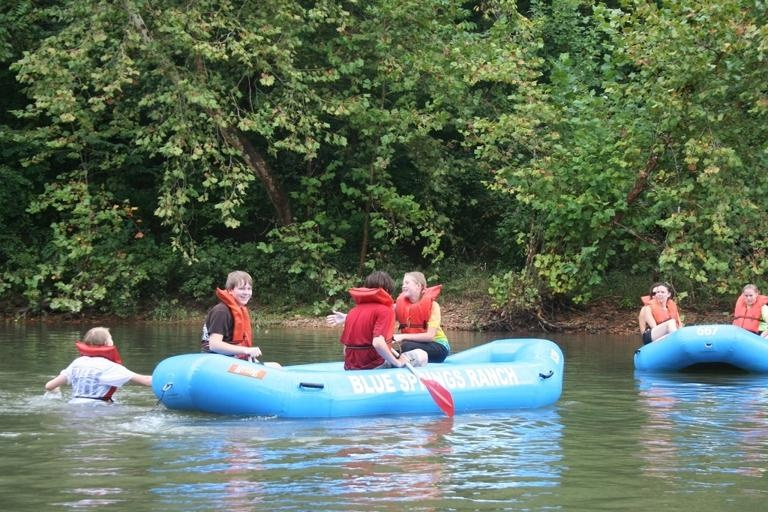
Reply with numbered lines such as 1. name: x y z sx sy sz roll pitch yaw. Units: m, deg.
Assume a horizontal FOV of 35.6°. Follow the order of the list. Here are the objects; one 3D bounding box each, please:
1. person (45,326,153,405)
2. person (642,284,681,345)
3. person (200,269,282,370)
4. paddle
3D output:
1. person: -4.598 1.782 19.288 0.977 1.172 0.437 10 28 10
2. person: 5.059 0.902 21.624 0.694 0.439 1.138 2 22 9
3. person: -2.248 0.919 17.800 0.767 1.363 0.514 -2 14 -9
4. paddle: 0.644 1.866 18.058 1.244 0.263 0.134 42 5 31
